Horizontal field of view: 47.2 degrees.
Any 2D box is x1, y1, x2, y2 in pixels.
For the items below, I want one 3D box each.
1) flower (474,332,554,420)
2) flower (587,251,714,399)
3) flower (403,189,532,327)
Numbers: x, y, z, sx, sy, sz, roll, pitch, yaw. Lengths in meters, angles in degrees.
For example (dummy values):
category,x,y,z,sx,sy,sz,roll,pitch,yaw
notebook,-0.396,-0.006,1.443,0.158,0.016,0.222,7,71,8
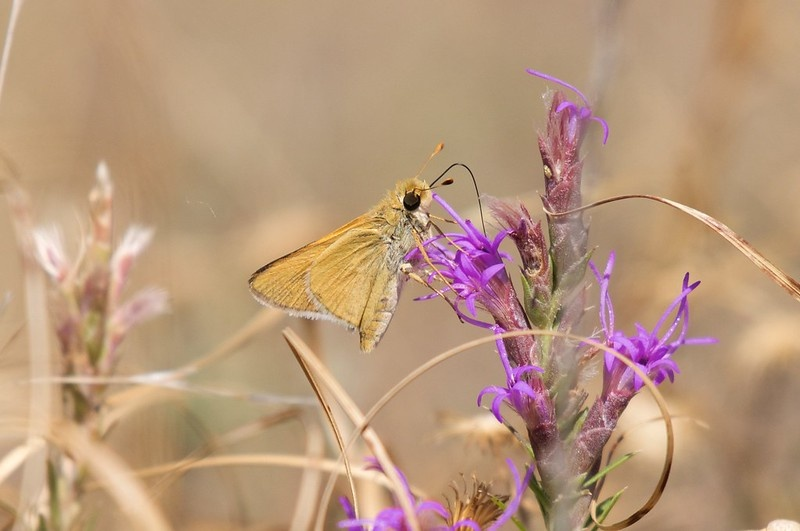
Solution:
category,x,y,z,sx,sy,sz,roll,pitch,yaw
flower,0.298,0.315,2.449,0.156,0.183,0.168,27,-63,-28
flower,0.690,0.226,2.481,0.200,0.206,0.204,-53,-27,-4
flower,0.226,-0.024,2.568,0.311,0.402,0.334,-13,-72,32
